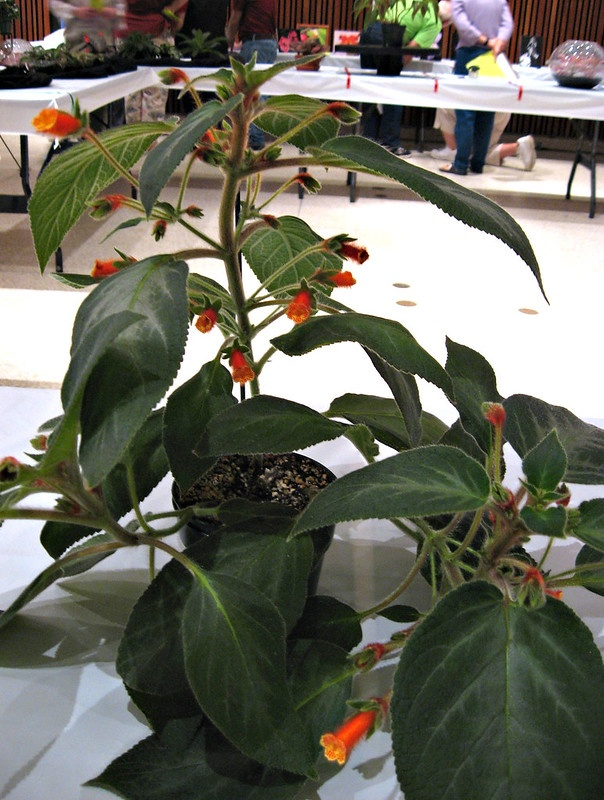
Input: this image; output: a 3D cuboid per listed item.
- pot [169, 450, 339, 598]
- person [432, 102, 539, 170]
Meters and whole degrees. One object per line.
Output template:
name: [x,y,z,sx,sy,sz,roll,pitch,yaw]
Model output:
pot: [-0.056,0.131,0.686,0.143,0.092,0.141,2,23,-1]
person: [1.546,-2.303,5.899,0.369,0.487,1.043,-19,40,-38]
